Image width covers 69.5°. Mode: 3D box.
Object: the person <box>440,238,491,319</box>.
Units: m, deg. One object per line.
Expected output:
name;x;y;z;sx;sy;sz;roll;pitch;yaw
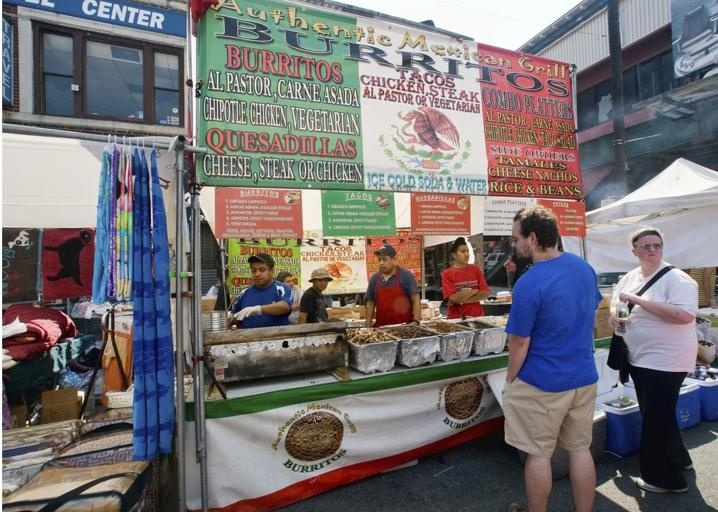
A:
person;1.486;0.274;7.240;0.640;1.130;0.593;-4;0;9

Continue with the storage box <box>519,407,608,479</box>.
storage box;2.405;2.161;6.138;0.888;0.711;0.853;1;-7;-30

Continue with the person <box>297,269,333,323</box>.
person;-0.611;0.527;7.083;0.446;0.730;0.852;-4;0;-4

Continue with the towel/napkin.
towel/napkin;-2.198;0.432;5.041;0.696;3.146;0.236;-5;0;-17

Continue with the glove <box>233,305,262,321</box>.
glove;-1.307;0.651;6.085;0.257;0.072;0.187;-19;5;-28

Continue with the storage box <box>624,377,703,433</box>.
storage box;3.994;1.872;6.817;0.572;0.562;0.833;-11;10;-15

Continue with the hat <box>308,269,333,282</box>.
hat;-0.607;0.283;7.880;0.285;0.136;0.302;3;-16;-12

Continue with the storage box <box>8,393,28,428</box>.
storage box;-4.055;1.898;6.129;0.187;0.337;0.558;-5;0;-35

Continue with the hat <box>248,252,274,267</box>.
hat;-1.203;0.053;6.373;0.275;0.194;0.261;-4;0;-16

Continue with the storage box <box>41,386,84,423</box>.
storage box;-3.751;1.846;6.561;0.522;0.500;0.313;1;-17;-13

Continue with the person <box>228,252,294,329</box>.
person;-1.239;0.483;6.381;0.850;1.112;1.047;1;-9;-20

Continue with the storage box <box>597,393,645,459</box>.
storage box;3.264;2.122;6.247;0.474;0.528;0.579;2;-14;7

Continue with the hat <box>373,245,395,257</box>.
hat;0.362;-0.081;7.124;0.275;0.169;0.320;-4;0;-2

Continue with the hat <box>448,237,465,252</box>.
hat;1.385;-0.178;7.263;0.167;0.208;0.191;10;30;3
